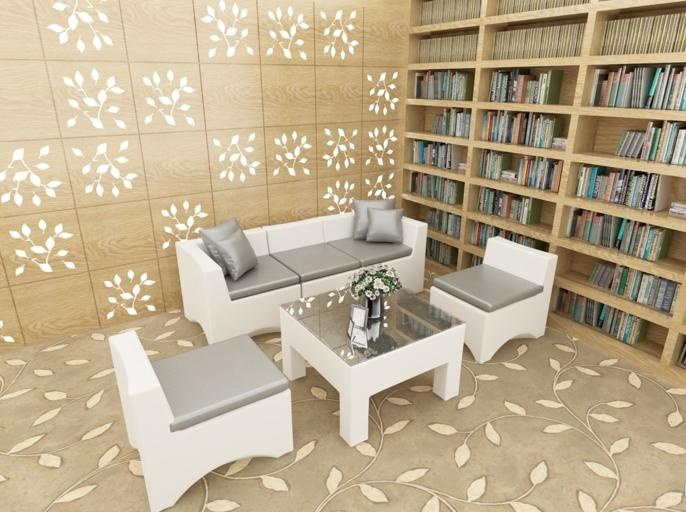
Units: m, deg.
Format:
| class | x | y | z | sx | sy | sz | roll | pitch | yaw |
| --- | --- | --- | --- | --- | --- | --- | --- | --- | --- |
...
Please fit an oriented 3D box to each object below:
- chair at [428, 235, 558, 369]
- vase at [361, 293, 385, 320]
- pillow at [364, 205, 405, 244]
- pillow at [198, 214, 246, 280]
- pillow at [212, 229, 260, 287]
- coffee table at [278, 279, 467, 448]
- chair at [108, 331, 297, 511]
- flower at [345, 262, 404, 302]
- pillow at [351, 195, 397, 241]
| class | x | y | z | sx | sy | sz | roll | pitch | yaw |
| --- | --- | --- | --- | --- | --- | --- | --- | --- | --- |
| chair | 1.373 | 0.371 | 4.349 | 1.147 | 1.013 | 1.048 | -10 | 23 | -29 |
| vase | 0.213 | 0.368 | 3.307 | 0.142 | 0.217 | 0.135 | -17 | 27 | -37 |
| pillow | 0.427 | -0.320 | 4.794 | 0.475 | 0.424 | 0.153 | 3 | 0 | 2 |
| pillow | -1.116 | -0.063 | 4.046 | 0.275 | 0.445 | 0.528 | 14 | 25 | 28 |
| pillow | -0.994 | 0.028 | 4.025 | 0.239 | 0.361 | 0.442 | 11 | 23 | 28 |
| coffee table | 0.203 | 0.748 | 3.496 | 1.085 | 0.710 | 1.019 | -15 | 25 | -31 |
| chair | -0.829 | 0.909 | 3.114 | 1.176 | 0.939 | 1.081 | -13 | 25 | -29 |
| flower | 0.231 | 0.190 | 3.414 | 0.292 | 0.167 | 0.300 | -3 | 19 | -7 |
| pillow | 0.425 | -0.341 | 4.941 | 0.406 | 0.353 | 0.144 | 0 | 4 | -30 |
